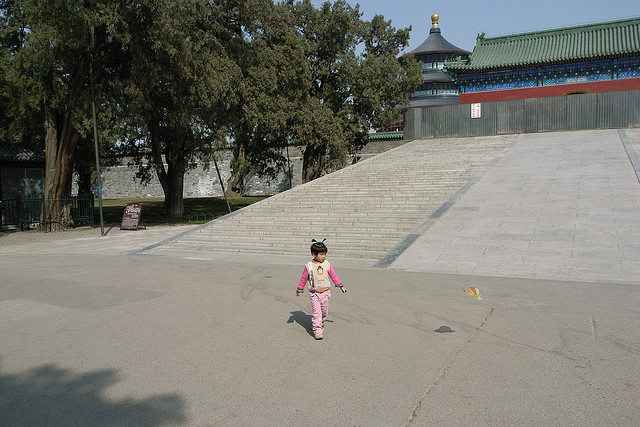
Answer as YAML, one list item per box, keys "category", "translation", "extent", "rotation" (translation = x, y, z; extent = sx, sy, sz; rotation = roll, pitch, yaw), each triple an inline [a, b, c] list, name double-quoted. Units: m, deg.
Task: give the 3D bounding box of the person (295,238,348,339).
- category: "person"
  translation: [0.028, 1.205, 7.495]
  extent: [0.850, 1.625, 1.249]
  rotation: [0, 8, 3]
